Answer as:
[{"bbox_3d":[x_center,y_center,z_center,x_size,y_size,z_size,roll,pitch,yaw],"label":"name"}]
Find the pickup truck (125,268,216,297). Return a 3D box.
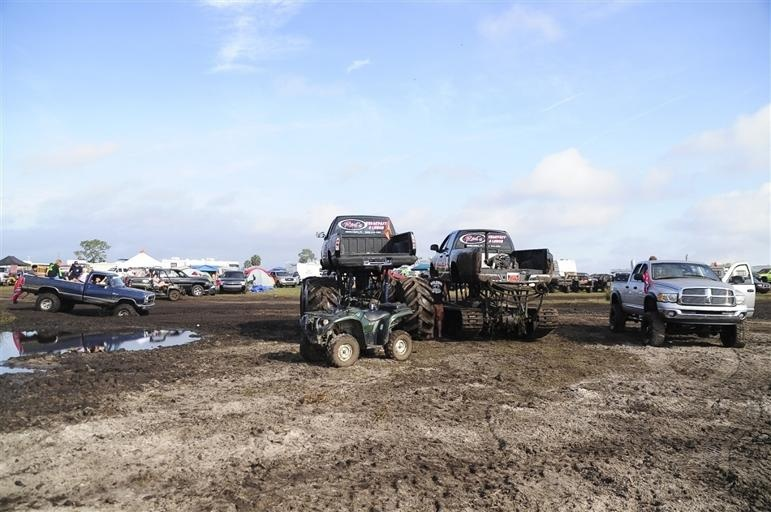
[{"bbox_3d":[-12.346,1.691,33.446,3.261,1.080,1.854,-1,1,-19],"label":"pickup truck"}]

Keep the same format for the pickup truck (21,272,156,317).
[{"bbox_3d":[-10.528,1.412,19.864,4.679,1.567,1.748,2,-1,7],"label":"pickup truck"}]

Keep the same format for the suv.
[{"bbox_3d":[-0.598,1.576,11.587,2.089,0.972,1.180,4,-5,-35],"label":"suv"}]

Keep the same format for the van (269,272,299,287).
[{"bbox_3d":[-10.886,2.361,57.976,1.779,1.272,3.717,0,-1,-29],"label":"van"}]

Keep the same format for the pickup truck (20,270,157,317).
[{"bbox_3d":[-10.485,1.372,19.858,4.682,1.559,1.748,2,-1,7],"label":"pickup truck"}]

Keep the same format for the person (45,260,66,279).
[{"bbox_3d":[-13.389,0.583,22.687,0.438,1.002,0.602,36,27,27],"label":"person"}]
